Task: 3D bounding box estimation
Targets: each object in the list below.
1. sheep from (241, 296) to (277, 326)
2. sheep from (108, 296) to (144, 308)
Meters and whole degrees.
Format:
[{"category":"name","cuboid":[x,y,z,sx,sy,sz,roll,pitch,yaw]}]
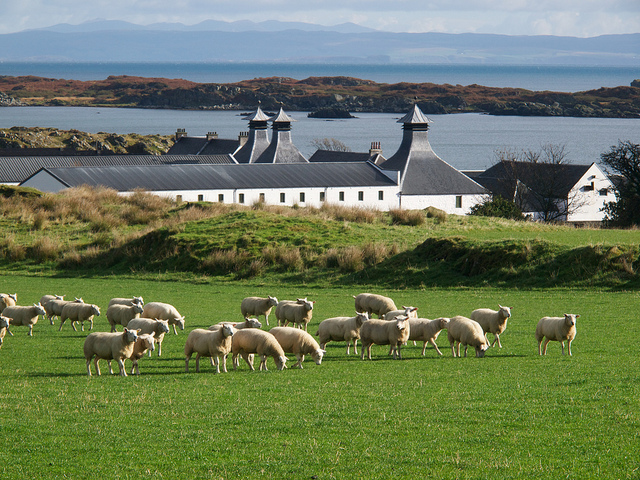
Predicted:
[{"category":"sheep","cuboid":[-5.224,6.213,127.071,3.972,2.526,1.418,4,3,40]},{"category":"sheep","cuboid":[-16.337,5.527,125.525,2.928,1.617,1.090,1,4,17]}]
